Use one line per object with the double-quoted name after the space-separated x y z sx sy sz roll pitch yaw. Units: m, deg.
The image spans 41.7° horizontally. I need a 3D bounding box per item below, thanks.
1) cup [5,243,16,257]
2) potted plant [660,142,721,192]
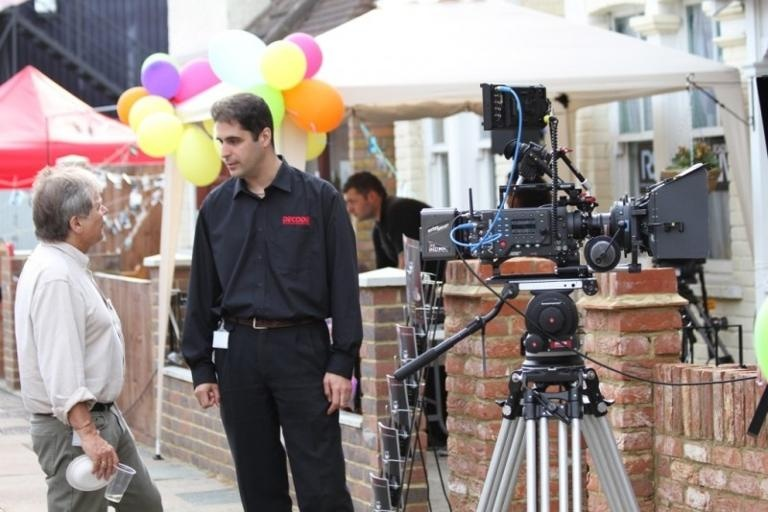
-5.038 -0.084 13.673 0.217 0.210 0.113 5 6 38 "cup"
3.470 -1.030 11.269 0.422 0.548 0.467 -1 4 -14 "potted plant"
